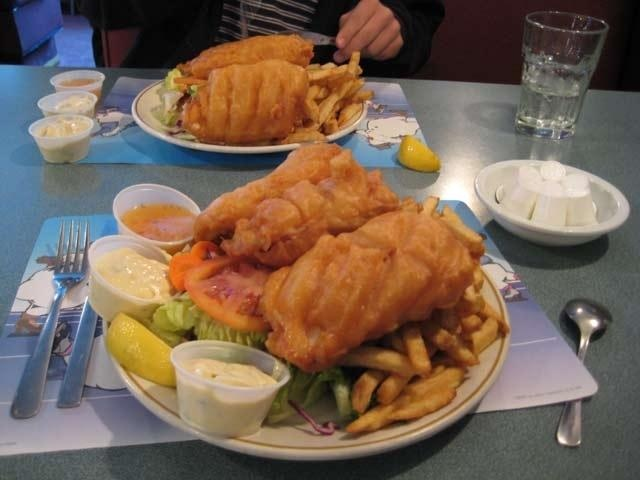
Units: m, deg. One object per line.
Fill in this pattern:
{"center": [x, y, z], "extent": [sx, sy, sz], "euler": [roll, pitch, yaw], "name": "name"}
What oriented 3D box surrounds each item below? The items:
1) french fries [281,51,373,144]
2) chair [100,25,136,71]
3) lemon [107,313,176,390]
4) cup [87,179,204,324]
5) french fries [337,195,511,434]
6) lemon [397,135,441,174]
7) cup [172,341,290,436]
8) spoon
{"center": [0.041, -0.478, 1.799], "extent": [0.341, 0.141, 0.331], "euler": [-29, 50, -23], "name": "french fries"}
{"center": [-1.083, -1.020, 2.657], "extent": [0.106, 0.183, 0.111], "euler": [-25, 74, -31], "name": "chair"}
{"center": [-0.350, 0.227, 1.016], "extent": [0.162, 0.059, 0.092], "euler": [35, 63, 19], "name": "lemon"}
{"center": [-0.418, 0.020, 1.163], "extent": [0.182, 0.100, 0.353], "euler": [19, 40, -4], "name": "cup"}
{"center": [0.200, 0.229, 1.034], "extent": [0.281, 0.089, 0.416], "euler": [50, 57, -3], "name": "french fries"}
{"center": [0.336, -0.284, 1.754], "extent": [0.143, 0.090, 0.106], "euler": [29, 3, 18], "name": "lemon"}
{"center": [-0.163, 0.261, 0.909], "extent": [0.212, 0.103, 0.147], "euler": [1, 41, -5], "name": "cup"}
{"center": [0.594, 0.299, 1.172], "extent": [0.113, 0.043, 0.430], "euler": [6, 38, 14], "name": "spoon"}
